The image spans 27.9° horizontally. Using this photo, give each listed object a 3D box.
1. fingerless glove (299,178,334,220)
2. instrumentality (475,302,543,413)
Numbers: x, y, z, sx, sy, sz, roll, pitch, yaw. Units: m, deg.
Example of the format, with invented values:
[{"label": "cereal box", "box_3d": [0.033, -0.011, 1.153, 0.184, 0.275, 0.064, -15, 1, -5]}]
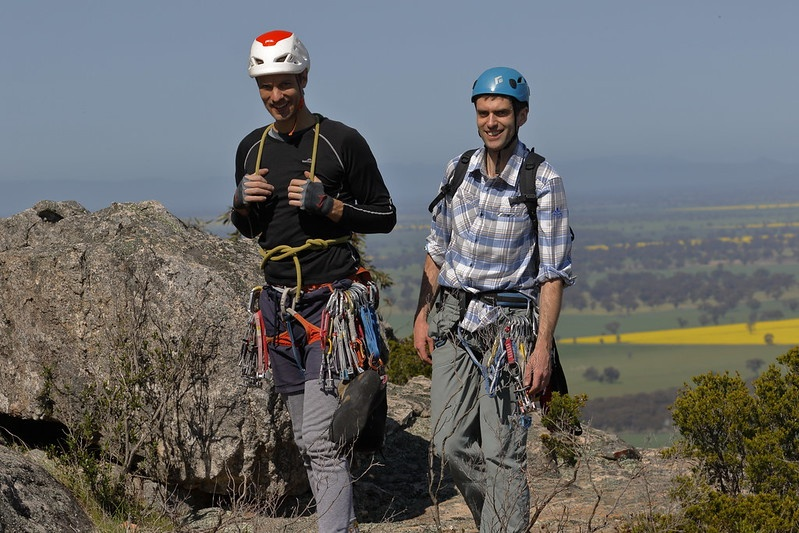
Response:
[{"label": "fingerless glove", "box_3d": [-1.397, -1.106, 26.941, 0.563, 0.612, 0.207, -2, 4, -5]}, {"label": "instrumentality", "box_3d": [1.842, 1.430, 27.375, 1.023, 1.809, 0.548, 18, 7, 15]}]
